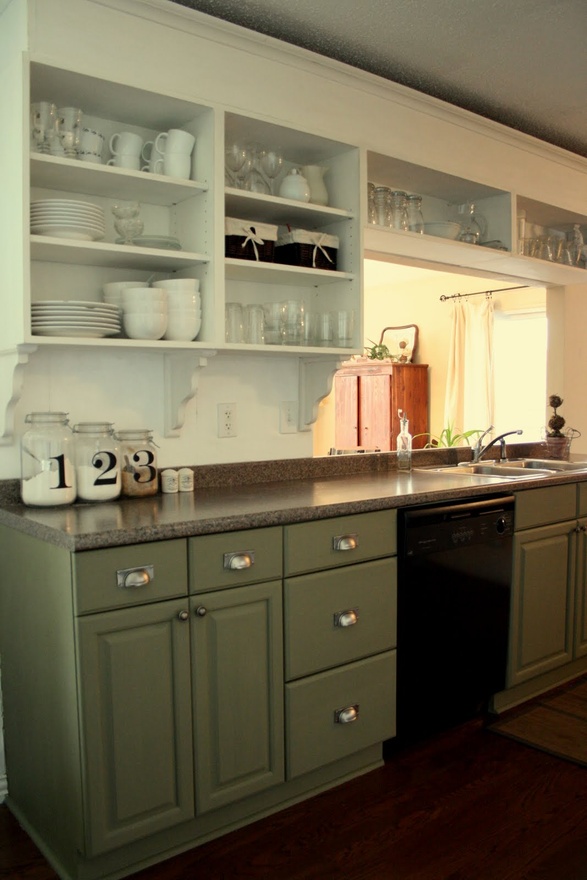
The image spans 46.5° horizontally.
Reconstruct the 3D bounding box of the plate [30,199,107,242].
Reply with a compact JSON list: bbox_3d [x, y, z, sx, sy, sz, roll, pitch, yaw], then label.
[{"bbox_3d":[-0.564,-0.510,1.668,0.121,0.052,0.126,0,2,24],"label":"plate"}]

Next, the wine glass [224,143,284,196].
[{"bbox_3d":[-0.131,-0.848,2.129,0.059,0.170,0.251,9,13,37],"label":"wine glass"}]

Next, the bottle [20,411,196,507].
[{"bbox_3d":[-0.526,0.051,1.901,0.186,0.240,0.520,0,0,33],"label":"bottle"}]

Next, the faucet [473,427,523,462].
[{"bbox_3d":[1.130,0.028,3.772,0.108,0.156,0.425,5,10,41],"label":"faucet"}]

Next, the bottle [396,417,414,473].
[{"bbox_3d":[0.449,0.005,2.794,0.057,0.232,0.148,0,-1,6],"label":"bottle"}]

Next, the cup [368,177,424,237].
[{"bbox_3d":[0.378,-0.853,2.565,0.100,0.186,0.292,0,-1,39],"label":"cup"}]

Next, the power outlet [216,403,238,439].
[{"bbox_3d":[-0.226,-0.063,2.291,0.016,0.162,0.117,-1,-1,39],"label":"power outlet"}]

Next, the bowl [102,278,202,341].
[{"bbox_3d":[-0.371,-0.330,1.874,0.185,0.147,0.207,-4,4,-42],"label":"bowl"}]
